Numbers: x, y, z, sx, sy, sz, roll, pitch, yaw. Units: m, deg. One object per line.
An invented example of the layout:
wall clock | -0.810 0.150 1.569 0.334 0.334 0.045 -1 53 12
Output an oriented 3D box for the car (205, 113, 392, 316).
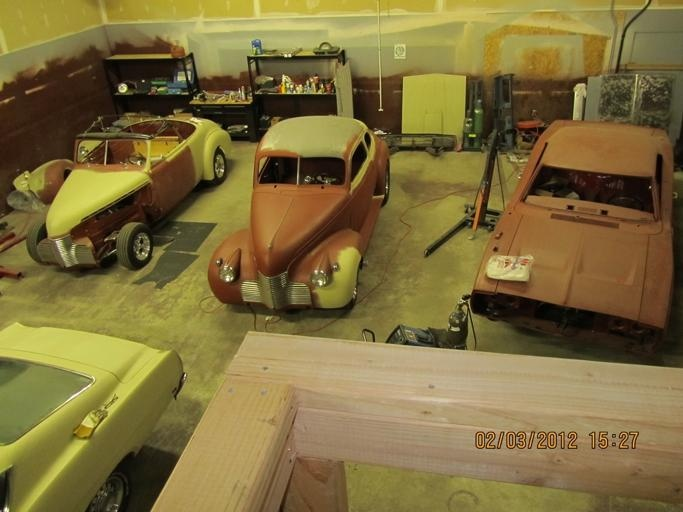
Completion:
car | -0.410 -1.047 7.087 1.841 1.621 4.227 4 40 13

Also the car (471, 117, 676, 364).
car | 2.785 -0.231 5.565 1.912 2.078 2.652 9 28 25

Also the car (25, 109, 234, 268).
car | -3.641 -1.648 8.551 1.958 1.700 4.797 3 34 8
